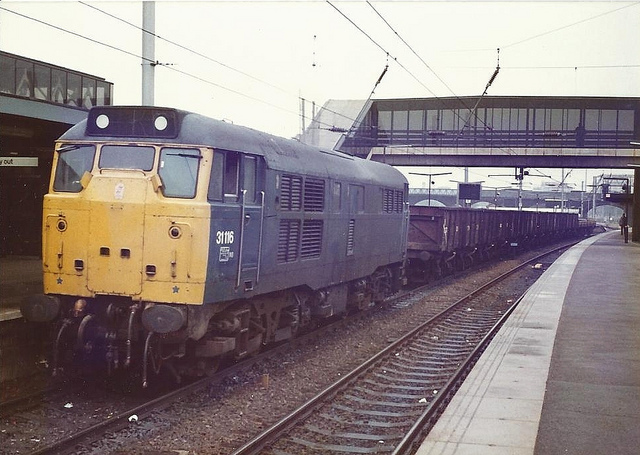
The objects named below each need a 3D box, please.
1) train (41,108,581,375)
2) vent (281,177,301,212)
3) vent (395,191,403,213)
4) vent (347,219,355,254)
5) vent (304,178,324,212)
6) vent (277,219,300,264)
[{"bbox_3d":[2.855,0.530,23.429,5.110,5.952,31.885,0,0,25],"label":"train"},{"bbox_3d":[-0.644,-0.712,11.463,0.057,0.486,0.755,-1,0,16],"label":"vent"},{"bbox_3d":[2.598,-0.846,17.898,0.158,0.622,0.426,0,4,11],"label":"vent"},{"bbox_3d":[0.844,0.238,14.603,0.091,0.916,0.396,4,5,20],"label":"vent"},{"bbox_3d":[-0.109,-0.751,12.568,0.129,0.816,1.250,-2,5,-21],"label":"vent"},{"bbox_3d":[-0.658,0.287,11.792,0.110,0.991,1.426,2,-2,-17],"label":"vent"}]
